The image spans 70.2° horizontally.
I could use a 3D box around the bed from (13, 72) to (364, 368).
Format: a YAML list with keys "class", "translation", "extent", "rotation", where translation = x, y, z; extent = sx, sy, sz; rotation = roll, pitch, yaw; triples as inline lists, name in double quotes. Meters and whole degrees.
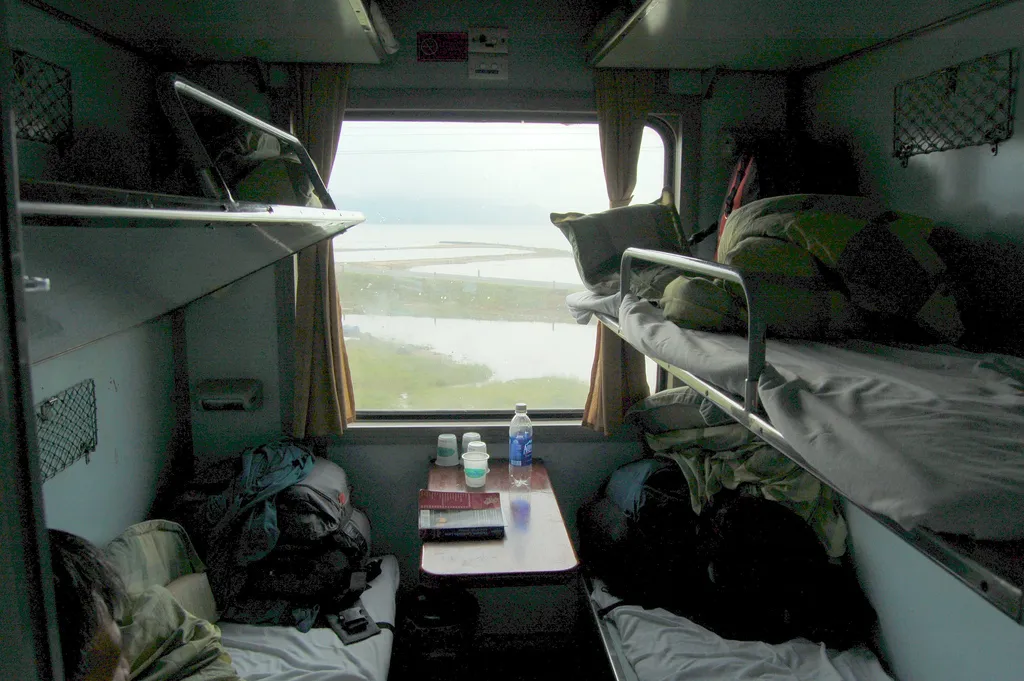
- class: "bed"
  translation: [-1.233, -0.539, 2.826]
  extent: [0.560, 0.439, 1.530]
  rotation: [-8, 5, 2]

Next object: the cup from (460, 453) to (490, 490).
- class: "cup"
  translation: [-0.177, 0.656, 3.718]
  extent: [0.166, 0.154, 0.152]
  rotation: [1, 11, 0]

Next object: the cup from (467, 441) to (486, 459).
- class: "cup"
  translation: [-0.178, 0.572, 3.840]
  extent: [0.084, 0.072, 0.080]
  rotation: [0, 1, 0]

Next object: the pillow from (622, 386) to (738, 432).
- class: "pillow"
  translation: [0.853, 0.372, 3.836]
  extent: [0.356, 0.098, 0.306]
  rotation: [-8, 14, -15]

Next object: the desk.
- class: "desk"
  translation: [-0.078, 0.869, 3.463]
  extent: [0.657, 0.345, 0.901]
  rotation: [-4, 1, -3]

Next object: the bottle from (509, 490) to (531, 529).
- class: "bottle"
  translation: [0.046, 0.815, 3.531]
  extent: [0.099, 0.153, 0.099]
  rotation: [-1, 19, 0]

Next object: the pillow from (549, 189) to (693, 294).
- class: "pillow"
  translation: [0.566, -0.514, 3.673]
  extent: [0.564, 0.488, 0.160]
  rotation: [-11, -6, -26]

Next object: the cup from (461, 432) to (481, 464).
- class: "cup"
  translation: [-0.234, 0.567, 3.954]
  extent: [0.134, 0.130, 0.128]
  rotation: [1, 10, 0]

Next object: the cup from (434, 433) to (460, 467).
- class: "cup"
  translation: [-0.342, 0.594, 3.983]
  extent: [0.148, 0.145, 0.161]
  rotation: [1, 3, 0]

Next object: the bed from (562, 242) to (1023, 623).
- class: "bed"
  translation: [0.753, 0.259, 2.214]
  extent: [0.855, 0.305, 1.516]
  rotation: [5, 18, -27]
